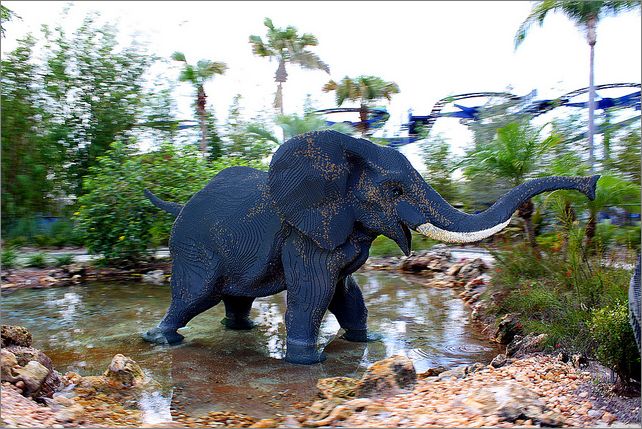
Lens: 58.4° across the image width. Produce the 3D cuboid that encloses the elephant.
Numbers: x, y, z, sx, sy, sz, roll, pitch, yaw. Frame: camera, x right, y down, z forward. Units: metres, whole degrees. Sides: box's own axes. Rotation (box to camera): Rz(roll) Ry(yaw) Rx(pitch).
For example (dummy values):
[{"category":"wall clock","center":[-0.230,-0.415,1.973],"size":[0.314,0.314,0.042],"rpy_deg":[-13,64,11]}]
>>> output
[{"category":"elephant","center":[0.448,0.476,7.264],"size":[5.675,1.677,1.934],"rpy_deg":[-8,-16,19]}]
